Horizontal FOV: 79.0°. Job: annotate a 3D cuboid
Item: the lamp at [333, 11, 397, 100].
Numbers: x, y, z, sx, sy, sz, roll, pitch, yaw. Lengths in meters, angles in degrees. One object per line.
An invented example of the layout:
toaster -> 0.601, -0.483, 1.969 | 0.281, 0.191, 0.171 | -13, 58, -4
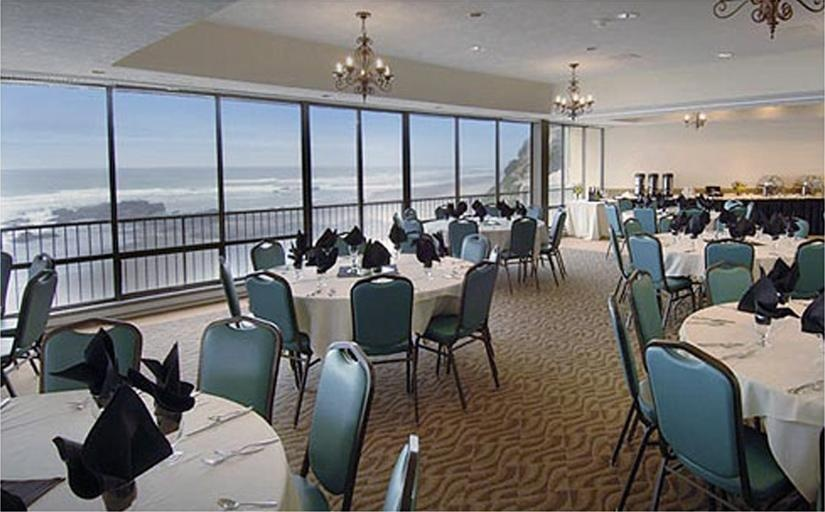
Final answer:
lamp -> -0.736, -2.855, 7.433 | 0.761, 1.303, 2.563 | -3, 5, -6

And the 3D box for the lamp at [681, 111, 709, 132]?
lamp -> 7.783, -3.722, 13.709 | 0.383, 0.567, 0.572 | 5, -5, -40
